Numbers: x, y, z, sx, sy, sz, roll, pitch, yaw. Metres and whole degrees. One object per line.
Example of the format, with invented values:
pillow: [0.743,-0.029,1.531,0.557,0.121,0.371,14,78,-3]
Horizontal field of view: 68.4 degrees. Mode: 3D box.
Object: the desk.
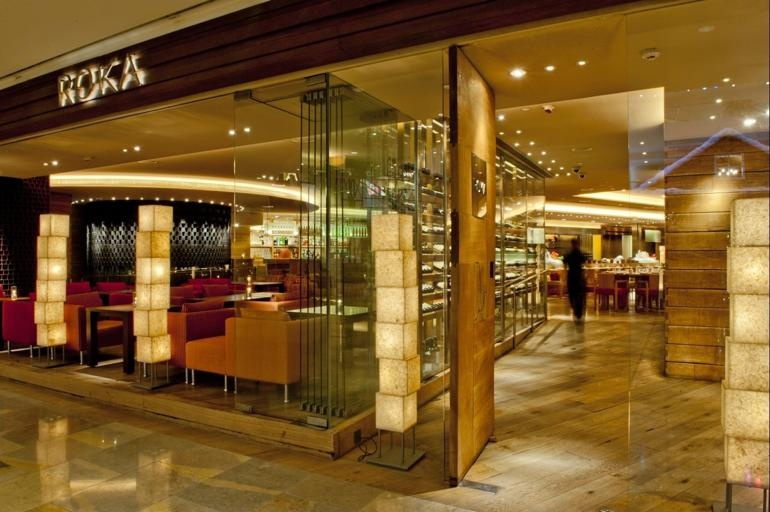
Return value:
desk: [-0.637,0.952,7.040,0.840,0.797,0.446,-3,13,-8]
